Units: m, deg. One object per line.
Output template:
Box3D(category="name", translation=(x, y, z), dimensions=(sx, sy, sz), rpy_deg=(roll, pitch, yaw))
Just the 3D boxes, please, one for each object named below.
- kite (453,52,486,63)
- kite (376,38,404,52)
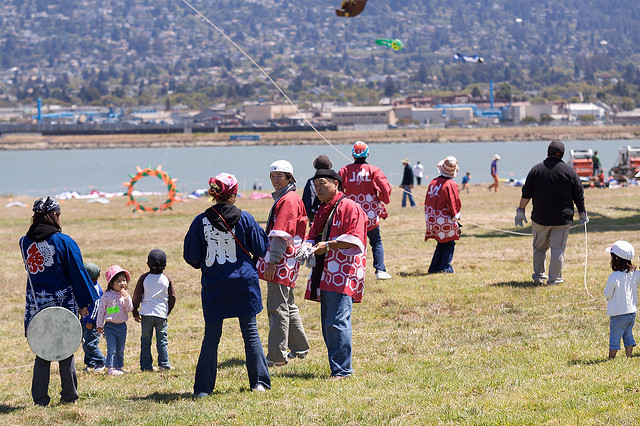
Box3D(category="kite", translation=(11.440, -11.893, 113.782), dimensions=(1.072, 0.598, 2.496), rpy_deg=(-8, 10, -44))
Box3D(category="kite", translation=(5.382, -12.916, 112.852), dimensions=(1.426, 0.581, 1.006), rpy_deg=(12, 10, 6))
